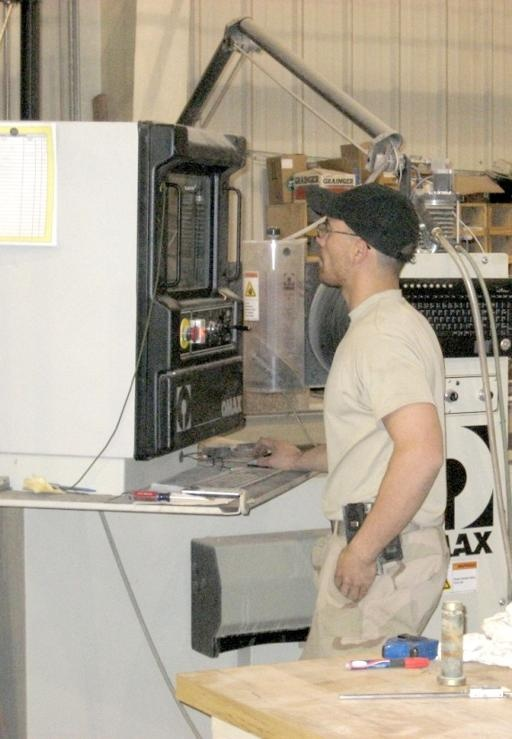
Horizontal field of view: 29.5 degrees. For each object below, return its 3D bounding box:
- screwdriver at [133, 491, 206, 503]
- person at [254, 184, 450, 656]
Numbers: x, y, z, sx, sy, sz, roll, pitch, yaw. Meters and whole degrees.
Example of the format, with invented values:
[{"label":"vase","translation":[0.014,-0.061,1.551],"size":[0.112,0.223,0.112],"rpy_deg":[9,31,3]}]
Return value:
[{"label":"screwdriver","translation":[-0.168,0.244,1.878],"size":[0.140,0.024,0.081],"rpy_deg":[-2,0,-3]},{"label":"person","translation":[0.216,0.101,1.923],"size":[0.316,0.917,0.668],"rpy_deg":[-3,0,11]}]
